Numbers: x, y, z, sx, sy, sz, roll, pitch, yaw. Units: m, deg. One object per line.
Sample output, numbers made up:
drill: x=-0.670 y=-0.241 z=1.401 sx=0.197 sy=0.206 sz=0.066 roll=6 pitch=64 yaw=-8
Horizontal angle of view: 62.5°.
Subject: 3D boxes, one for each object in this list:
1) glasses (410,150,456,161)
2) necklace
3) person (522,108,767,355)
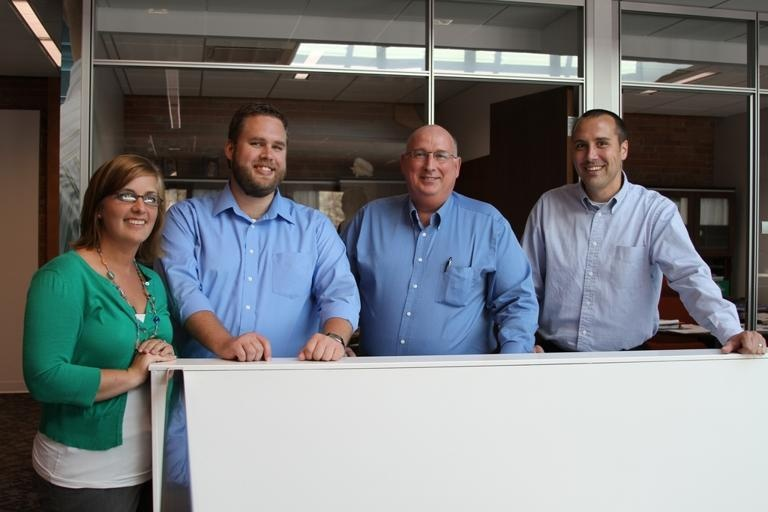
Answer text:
glasses: x=0.265 y=-0.544 z=3.424 sx=0.249 sy=0.063 sz=0.083 roll=-4 pitch=6 yaw=-15
necklace: x=-1.173 y=0.169 z=2.822 sx=0.090 sy=0.448 sz=0.249 roll=-19 pitch=-10 yaw=20
person: x=1.368 y=-0.131 z=3.626 sx=1.132 sy=1.417 sz=0.442 roll=3 pitch=8 yaw=44
